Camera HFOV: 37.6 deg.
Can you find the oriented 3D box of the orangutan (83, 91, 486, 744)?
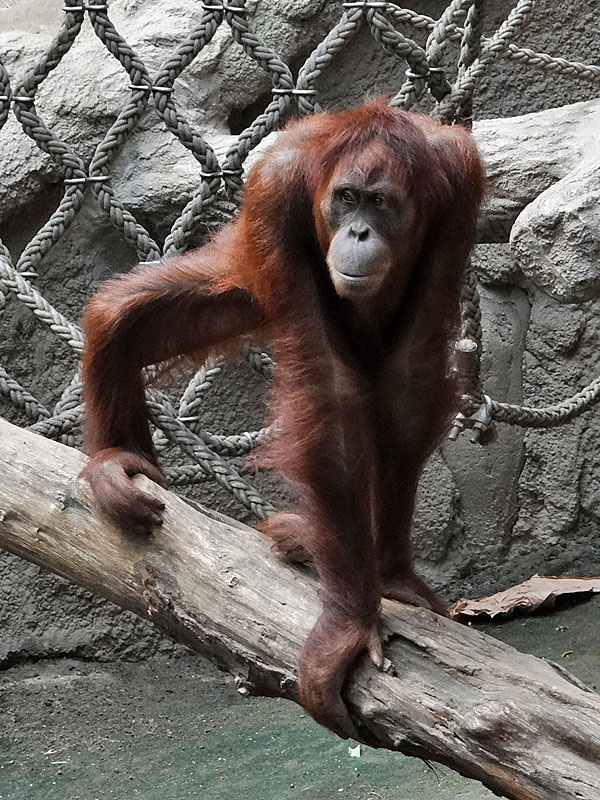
[{"bbox_3d":[-0.060,-0.007,1.585,0.712,0.956,0.499,1,11,41],"label":"orangutan"}]
